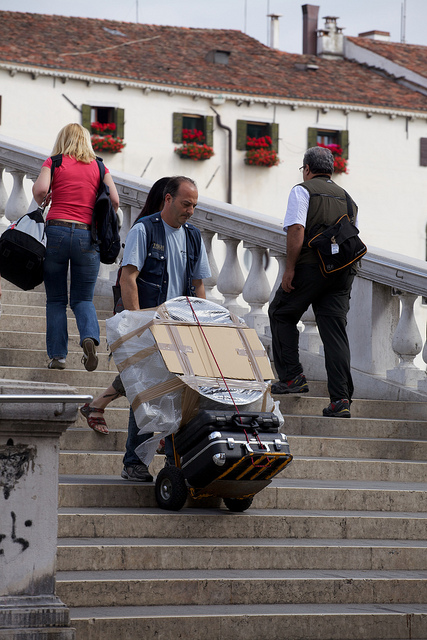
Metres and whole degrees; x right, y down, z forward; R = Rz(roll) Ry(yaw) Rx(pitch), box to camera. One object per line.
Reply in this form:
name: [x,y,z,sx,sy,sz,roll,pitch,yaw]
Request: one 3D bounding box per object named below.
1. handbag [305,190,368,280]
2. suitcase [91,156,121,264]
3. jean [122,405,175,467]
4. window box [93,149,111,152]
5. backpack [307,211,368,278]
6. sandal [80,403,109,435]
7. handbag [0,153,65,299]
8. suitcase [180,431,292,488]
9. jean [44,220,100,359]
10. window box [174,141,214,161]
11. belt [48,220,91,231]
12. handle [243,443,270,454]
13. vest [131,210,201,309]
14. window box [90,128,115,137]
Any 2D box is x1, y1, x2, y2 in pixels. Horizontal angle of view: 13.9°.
handbag: [0.736,-0.524,10.475,0.253,0.422,0.211,-19,0,6]
suitcase: [-0.656,-0.629,10.435,0.139,0.659,0.216,-2,-5,-21]
jean: [-0.317,0.602,8.873,0.224,0.361,0.537,3,6,-6]
window box: [-1.972,-3.047,31.547,0.365,0.042,0.172,-1,8,-41]
backpack: [0.708,-0.487,10.453,0.305,0.320,0.173,-18,20,-38]
sandal: [-0.634,0.530,9.542,0.159,0.173,0.193,3,5,-7]
handbag: [-1.043,-0.579,10.251,0.365,0.805,0.357,1,5,-22]
suitcase: [0.105,0.716,8.559,0.429,0.170,0.465,-1,-30,-28]
jean: [-0.824,-0.164,10.309,0.336,0.812,0.450,3,5,-6]
window box: [-0.316,-3.147,32.764,0.698,0.330,0.474,2,6,-17]
belt: [-0.827,-0.554,10.311,0.245,0.052,0.069,3,6,-10]
handle: [0.212,0.617,8.402,0.137,0.042,0.051,1,6,-32]
vest: [-0.250,-0.301,9.170,0.405,0.599,0.284,-4,13,-42]
window box: [-1.956,-3.368,31.611,0.104,0.132,0.542,8,7,39]
